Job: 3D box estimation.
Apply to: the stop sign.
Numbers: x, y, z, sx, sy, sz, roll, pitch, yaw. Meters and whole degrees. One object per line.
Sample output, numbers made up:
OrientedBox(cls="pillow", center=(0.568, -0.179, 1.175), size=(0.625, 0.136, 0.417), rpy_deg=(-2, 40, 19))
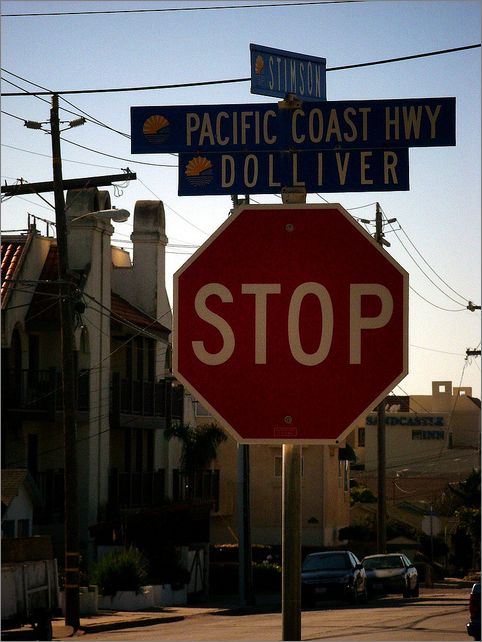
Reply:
OrientedBox(cls="stop sign", center=(0.206, 0.017, 5.371), size=(0.786, 1.207, 0.067), rpy_deg=(0, -4, 5))

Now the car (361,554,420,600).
OrientedBox(cls="car", center=(3.416, 5.992, 29.456), size=(0.673, 0.746, 1.857), rpy_deg=(-2, -20, 7))

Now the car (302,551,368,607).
OrientedBox(cls="car", center=(1.847, 5.321, 25.914), size=(1.214, 1.062, 1.784), rpy_deg=(-1, -6, 5))
